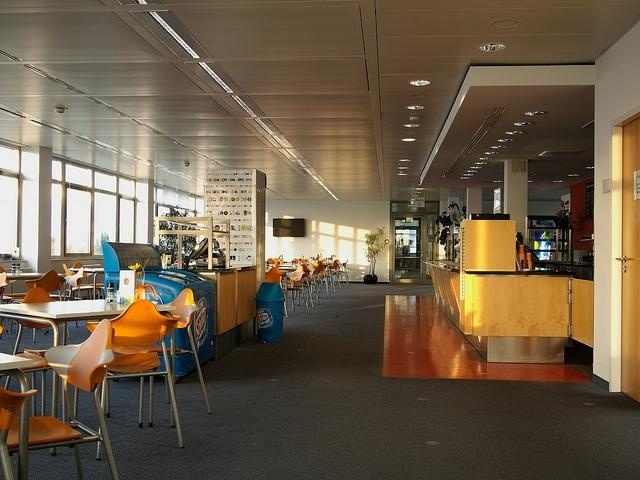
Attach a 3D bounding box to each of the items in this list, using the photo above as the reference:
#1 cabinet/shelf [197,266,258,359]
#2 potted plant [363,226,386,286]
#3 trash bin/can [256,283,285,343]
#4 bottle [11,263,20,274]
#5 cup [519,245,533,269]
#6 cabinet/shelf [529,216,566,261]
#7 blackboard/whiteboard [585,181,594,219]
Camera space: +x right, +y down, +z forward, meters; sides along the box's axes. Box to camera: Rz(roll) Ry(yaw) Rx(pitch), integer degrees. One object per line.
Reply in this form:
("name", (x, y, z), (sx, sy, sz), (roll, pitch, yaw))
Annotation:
("cabinet/shelf", (-1.432, 1.092, 6.928), (0.440, 0.809, 1.349), (-1, -3, 0))
("potted plant", (2.553, 0.504, 21.023), (0.994, 2.127, 0.510), (0, 0, -1))
("trash bin/can", (-0.889, 1.249, 8.068), (0.449, 0.990, 0.529), (1, -1, -41))
("bottle", (-6.433, 0.600, 9.691), (0.225, 0.208, 0.053), (4, 10, 16))
("cup", (3.270, 0.276, 7.300), (0.197, 0.364, 0.408), (0, -1, 26))
("cabinet/shelf", (7.521, -0.009, 15.145), (1.451, 1.468, 0.794), (-5, -6, 27))
("blackboard/whiteboard", (7.278, -1.079, 12.426), (0.117, 0.933, 0.428), (0, -1, 11))
